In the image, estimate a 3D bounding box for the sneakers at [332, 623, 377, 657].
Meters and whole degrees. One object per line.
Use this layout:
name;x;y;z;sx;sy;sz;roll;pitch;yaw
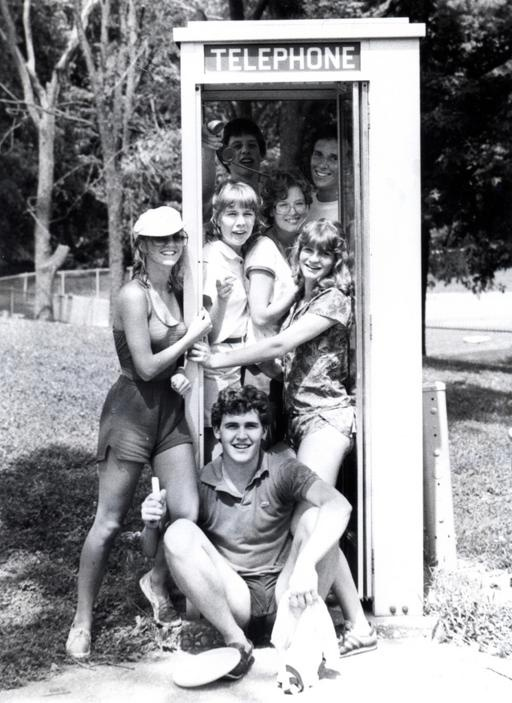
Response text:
sneakers;0.351;1.033;3.044;0.066;0.099;0.190;-11;-15;37

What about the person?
person;-0.174;0.047;3.229;1.148;2.042;0.919;-3;3;-34

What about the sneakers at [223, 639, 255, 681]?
sneakers;-0.062;1.043;2.884;0.077;0.110;0.179;-1;4;7

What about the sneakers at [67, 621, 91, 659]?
sneakers;-0.656;1.054;3.095;0.087;0.096;0.119;-2;3;-9
